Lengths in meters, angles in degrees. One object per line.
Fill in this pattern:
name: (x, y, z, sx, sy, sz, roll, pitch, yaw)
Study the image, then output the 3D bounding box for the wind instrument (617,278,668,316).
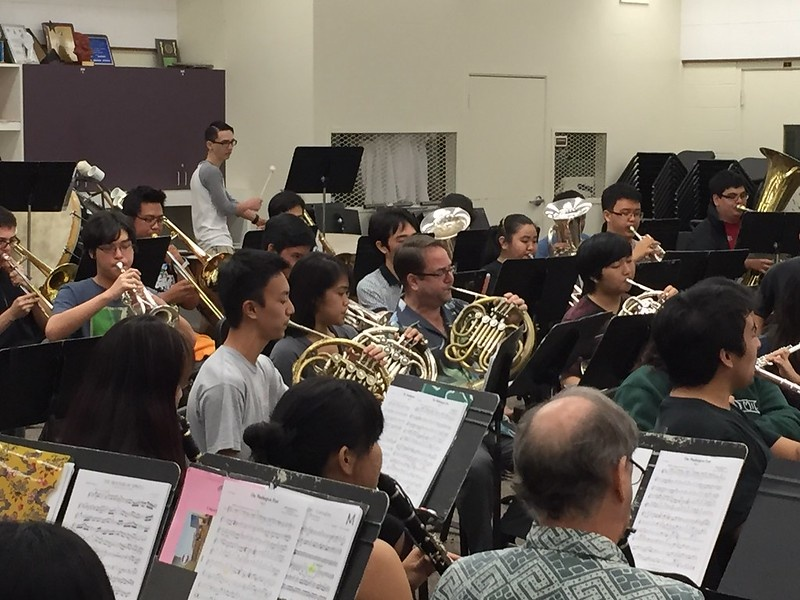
wind instrument: (1.407, -0.019, 4.085, 0.165, 0.215, 0.085, 45, 6, -5)

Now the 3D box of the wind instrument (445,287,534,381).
wind instrument: (0.490, 0.197, 3.735, 0.531, 0.417, 0.326, -5, 14, -39)

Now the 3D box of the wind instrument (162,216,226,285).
wind instrument: (-1.692, -0.411, 5.722, 0.324, 0.330, 1.149, -31, 35, -15)

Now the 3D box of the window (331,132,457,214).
window: (-0.125, -1.761, 9.414, 1.714, 1.083, 0.118, -2, 32, -6)

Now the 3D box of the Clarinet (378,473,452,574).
Clarinet: (0.033, 0.618, 1.966, 0.210, 0.230, 0.197, 4, 11, -2)

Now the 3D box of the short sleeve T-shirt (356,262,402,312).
short sleeve T-shirt: (-0.135, -0.067, 4.542, 0.228, 0.308, 0.412, 1, 2, 33)

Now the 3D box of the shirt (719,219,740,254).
shirt: (3.233, -0.640, 6.786, 0.111, 0.343, 0.232, 6, 1, 19)

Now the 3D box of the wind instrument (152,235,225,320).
wind instrument: (-1.660, -0.206, 5.349, 0.408, 0.399, 1.033, -28, 33, -15)

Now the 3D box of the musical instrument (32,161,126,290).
musical instrument: (-2.375, -0.530, 5.025, 0.260, 1.049, 1.006, 13, -26, -38)

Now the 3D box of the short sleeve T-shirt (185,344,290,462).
short sleeve T-shirt: (-0.671, 0.374, 2.741, 0.251, 0.465, 0.558, 8, 19, 8)
